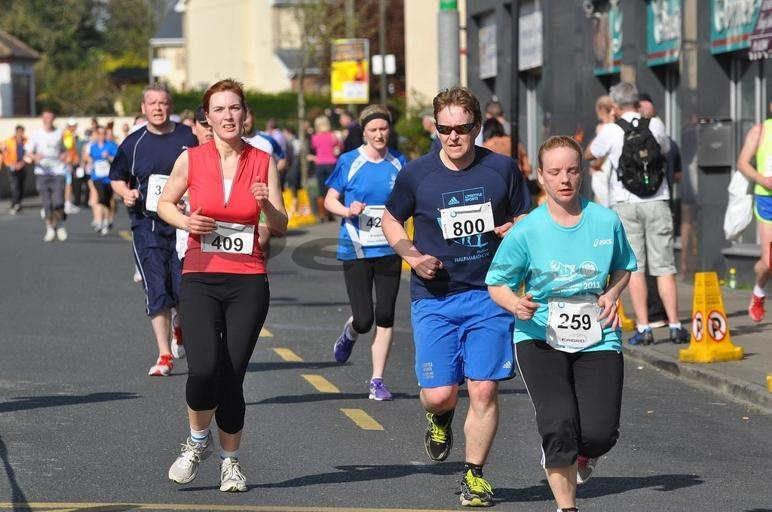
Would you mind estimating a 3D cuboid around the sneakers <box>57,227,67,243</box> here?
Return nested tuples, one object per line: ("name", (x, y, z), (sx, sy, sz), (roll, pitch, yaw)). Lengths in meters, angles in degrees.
("sneakers", (-6.205, -0.376, 21.545), (0.184, 0.167, 0.560), (-12, 21, -11))

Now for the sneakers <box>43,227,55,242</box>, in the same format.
("sneakers", (-6.389, -0.411, 21.279), (0.152, 0.192, 0.464), (-3, 10, -5))

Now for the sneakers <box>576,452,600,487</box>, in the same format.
("sneakers", (1.400, 1.437, 7.804), (0.133, 0.176, 0.410), (3, 18, 14))

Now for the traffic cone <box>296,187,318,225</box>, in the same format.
("traffic cone", (-1.938, -1.143, 25.992), (0.698, 1.008, 0.908), (0, 2, -3))

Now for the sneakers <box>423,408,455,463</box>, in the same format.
("sneakers", (0.380, 1.310, 8.241), (0.146, 0.457, 0.197), (2, 28, 9))

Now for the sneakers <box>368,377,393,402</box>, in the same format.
("sneakers", (-0.049, 1.203, 10.215), (0.120, 0.134, 0.277), (0, -1, -24))

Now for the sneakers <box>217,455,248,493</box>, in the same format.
("sneakers", (-1.075, 1.525, 7.916), (0.185, 0.256, 0.126), (-1, 7, -9))

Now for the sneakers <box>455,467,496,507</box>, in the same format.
("sneakers", (0.633, 1.566, 7.822), (0.249, 0.278, 0.271), (1, 7, 4))

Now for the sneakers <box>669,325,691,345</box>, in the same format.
("sneakers", (3.102, 0.837, 11.911), (0.109, 0.148, 0.297), (1, 10, 19))

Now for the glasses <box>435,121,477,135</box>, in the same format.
("glasses", (0.494, -0.902, 7.932), (0.278, 0.096, 0.114), (1, 8, 3))

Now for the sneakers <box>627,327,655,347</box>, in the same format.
("sneakers", (2.712, 0.851, 11.986), (0.125, 0.180, 0.353), (-2, 5, -17))
